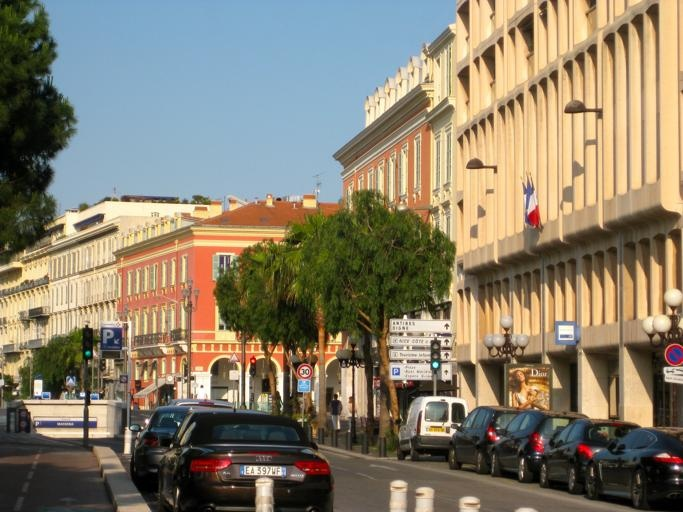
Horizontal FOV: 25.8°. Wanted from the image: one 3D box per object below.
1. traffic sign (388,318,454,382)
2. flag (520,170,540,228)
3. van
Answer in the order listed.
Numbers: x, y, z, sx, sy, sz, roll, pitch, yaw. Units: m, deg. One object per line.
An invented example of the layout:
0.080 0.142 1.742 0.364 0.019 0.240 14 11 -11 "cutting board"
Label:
2.885 3.435 55.728 1.861 2.490 0.165 1 -2 -1 "traffic sign"
7.404 -2.244 58.281 0.617 2.417 2.509 -3 -12 7 "flag"
3.219 6.415 54.339 2.003 2.536 4.510 5 -9 -10 "van"
